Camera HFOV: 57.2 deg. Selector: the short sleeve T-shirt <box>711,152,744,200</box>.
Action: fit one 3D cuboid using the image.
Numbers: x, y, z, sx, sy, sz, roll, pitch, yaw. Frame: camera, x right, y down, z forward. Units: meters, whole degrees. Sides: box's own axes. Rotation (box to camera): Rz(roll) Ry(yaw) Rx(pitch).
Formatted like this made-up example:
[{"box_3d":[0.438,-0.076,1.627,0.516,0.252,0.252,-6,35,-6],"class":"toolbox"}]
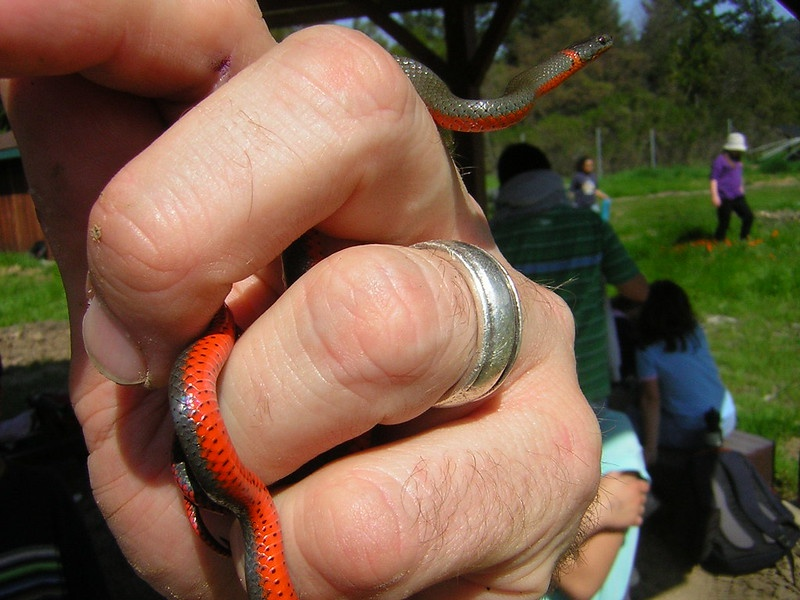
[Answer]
[{"box_3d":[1.636,-0.612,3.650,0.169,0.227,0.114,4,-13,-38],"class":"short sleeve T-shirt"}]
